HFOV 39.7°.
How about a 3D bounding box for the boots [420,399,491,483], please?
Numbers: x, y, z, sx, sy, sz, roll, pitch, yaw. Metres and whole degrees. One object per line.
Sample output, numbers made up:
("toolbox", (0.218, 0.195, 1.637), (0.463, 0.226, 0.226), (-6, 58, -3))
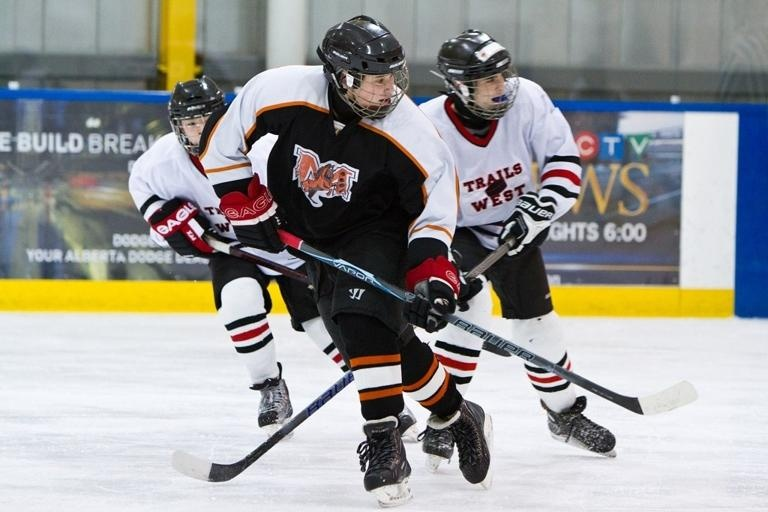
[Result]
("boots", (0.346, 0.940, 5.291), (0.252, 0.549, 0.191), (15, -36, -26))

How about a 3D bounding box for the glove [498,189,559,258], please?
("glove", (0.763, -0.161, 5.557), (0.220, 0.350, 0.118), (37, 3, 21))

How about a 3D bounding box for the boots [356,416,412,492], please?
("boots", (0.009, 0.895, 5.049), (0.158, 0.199, 0.457), (-25, 30, 20))

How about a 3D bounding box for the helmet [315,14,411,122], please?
("helmet", (-0.121, -0.959, 5.242), (0.491, 0.428, 0.372), (30, 41, 25))

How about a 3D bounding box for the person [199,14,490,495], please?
("person", (-0.107, -0.022, 5.197), (1.350, 2.232, 0.659), (13, 19, 38))

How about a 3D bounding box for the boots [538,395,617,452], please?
("boots", (1.040, 0.891, 5.589), (0.173, 0.210, 0.477), (-21, 19, -33))

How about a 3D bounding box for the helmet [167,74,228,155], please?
("helmet", (-1.094, -0.828, 6.153), (0.352, 0.406, 0.420), (-17, 25, -21))

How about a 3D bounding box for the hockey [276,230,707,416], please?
("hockey", (0.571, 0.390, 6.006), (2.179, 0.144, 0.430), (19, -16, 6))

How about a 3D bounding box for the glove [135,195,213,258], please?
("glove", (-1.141, -0.169, 5.896), (0.269, 0.373, 0.136), (-37, -6, -7))

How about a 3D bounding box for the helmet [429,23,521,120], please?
("helmet", (0.467, -0.968, 5.615), (0.451, 0.419, 0.378), (0, 36, 9))

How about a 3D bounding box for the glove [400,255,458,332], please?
("glove", (0.220, 0.188, 5.056), (0.268, 0.372, 0.183), (-1, 15, -7))
